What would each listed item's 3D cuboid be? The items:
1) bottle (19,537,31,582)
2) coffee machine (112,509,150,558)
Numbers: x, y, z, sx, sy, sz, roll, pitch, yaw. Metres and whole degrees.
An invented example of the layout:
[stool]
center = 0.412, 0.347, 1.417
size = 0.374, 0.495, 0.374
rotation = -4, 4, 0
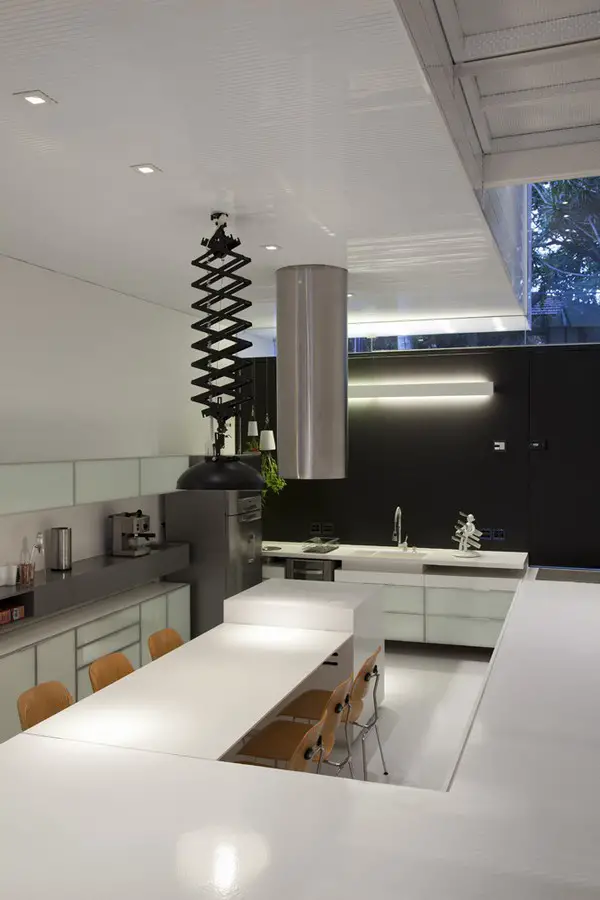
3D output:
[bottle]
center = -1.629, 0.650, 4.065
size = 0.084, 0.260, 0.289
rotation = -2, -5, -22
[coffee machine]
center = -1.221, 0.613, 4.949
size = 0.347, 0.396, 0.232
rotation = -1, -1, 13
